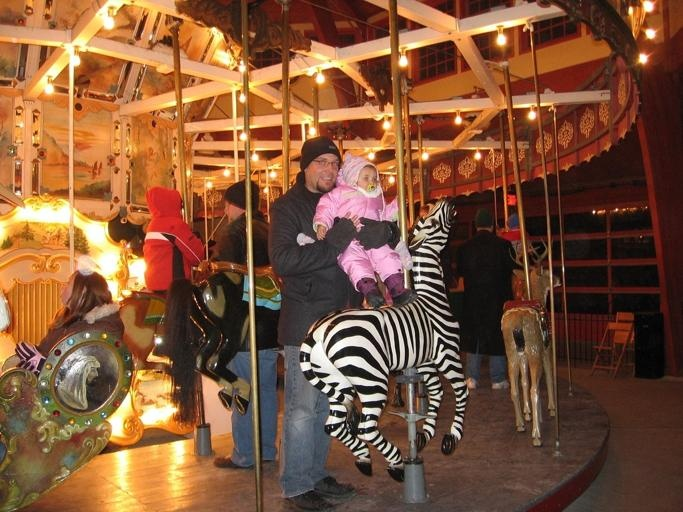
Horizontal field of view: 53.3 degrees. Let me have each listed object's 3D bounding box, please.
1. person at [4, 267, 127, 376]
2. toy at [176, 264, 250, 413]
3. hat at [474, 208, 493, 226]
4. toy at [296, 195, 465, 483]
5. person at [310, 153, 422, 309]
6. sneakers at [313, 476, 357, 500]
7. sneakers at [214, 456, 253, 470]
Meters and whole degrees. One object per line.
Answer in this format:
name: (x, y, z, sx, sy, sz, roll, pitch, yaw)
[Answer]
person: (-2.325, 0.532, 5.639, 0.904, 1.185, 0.676, 7, -9, -14)
toy: (-1.131, 0.714, 6.081, 0.643, 1.251, 0.231, 17, -20, -37)
hat: (1.861, -0.493, 8.916, 0.169, 0.265, 0.242, 1, 24, 9)
toy: (0.348, 0.629, 5.238, 1.361, 2.218, 0.365, 3, -7, -30)
person: (0.185, -0.211, 5.338, 0.742, 1.203, 0.351, -3, -10, -35)
sneakers: (-0.043, 1.894, 5.566, 0.244, 0.113, 0.154, 0, -2, 11)
sneakers: (-0.958, 1.847, 6.180, 0.347, 0.172, 0.139, -2, -9, 15)
